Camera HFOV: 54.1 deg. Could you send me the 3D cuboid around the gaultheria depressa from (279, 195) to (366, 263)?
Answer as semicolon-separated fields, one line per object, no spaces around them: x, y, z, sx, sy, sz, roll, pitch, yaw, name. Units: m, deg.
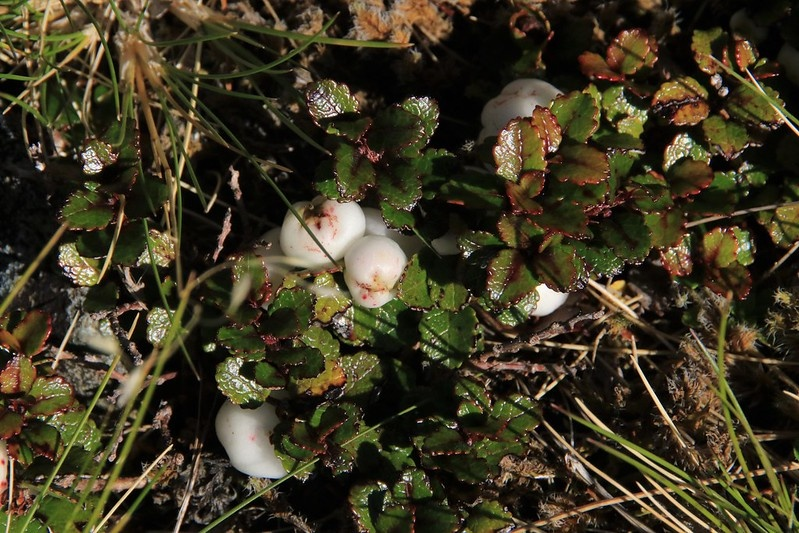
-0.266;-0.112;2.712;0.216;0.132;0.245;7;9;9;gaultheria depressa
